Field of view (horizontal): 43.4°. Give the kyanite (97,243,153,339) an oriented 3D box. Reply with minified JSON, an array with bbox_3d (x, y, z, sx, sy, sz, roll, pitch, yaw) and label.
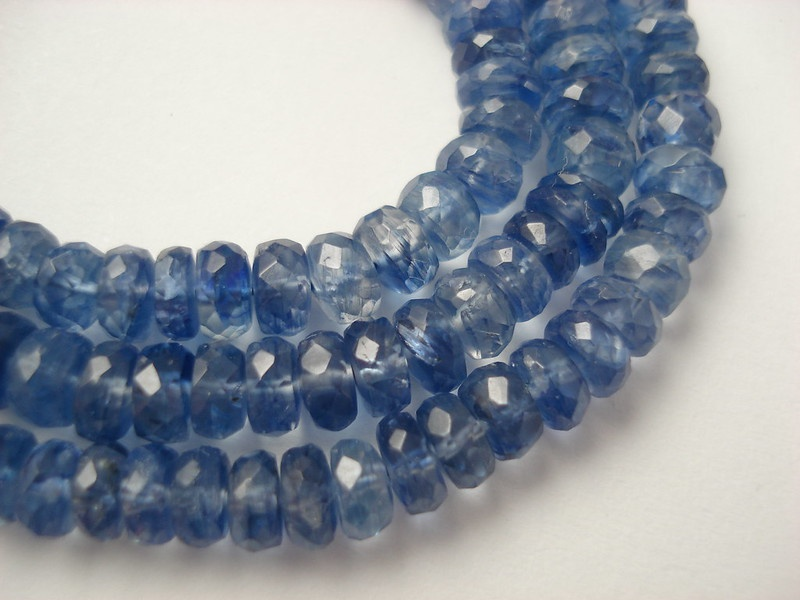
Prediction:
[{"bbox_3d":[-0.435,-0.013,1.594,0.089,0.143,0.063,1,1,-31],"label":"kyanite"}]

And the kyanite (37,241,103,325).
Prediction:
[{"bbox_3d":[-0.549,-0.024,1.659,0.096,0.082,0.114,11,-55,-17],"label":"kyanite"}]

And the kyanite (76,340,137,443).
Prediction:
[{"bbox_3d":[-0.475,0.148,1.613,0.083,0.159,0.050,6,-7,-2],"label":"kyanite"}]

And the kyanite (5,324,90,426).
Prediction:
[{"bbox_3d":[-0.572,0.124,1.620,0.129,0.157,0.034,19,-12,-21],"label":"kyanite"}]

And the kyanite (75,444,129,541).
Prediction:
[{"bbox_3d":[-0.482,0.307,1.614,0.083,0.101,0.102,9,-53,-15],"label":"kyanite"}]
